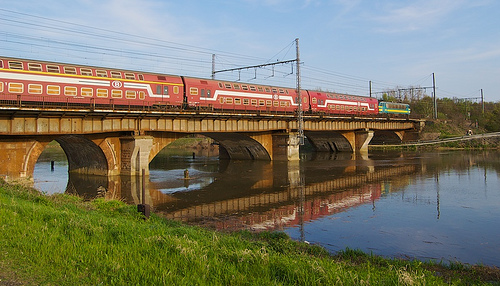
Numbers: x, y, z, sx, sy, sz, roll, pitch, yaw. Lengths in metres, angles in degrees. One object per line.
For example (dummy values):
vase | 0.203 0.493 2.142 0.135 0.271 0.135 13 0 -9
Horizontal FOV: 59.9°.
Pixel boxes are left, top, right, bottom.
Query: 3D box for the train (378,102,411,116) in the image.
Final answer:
train | 33.010 -7.835 99.906 1.093 2.463 16.503 12 9 39
